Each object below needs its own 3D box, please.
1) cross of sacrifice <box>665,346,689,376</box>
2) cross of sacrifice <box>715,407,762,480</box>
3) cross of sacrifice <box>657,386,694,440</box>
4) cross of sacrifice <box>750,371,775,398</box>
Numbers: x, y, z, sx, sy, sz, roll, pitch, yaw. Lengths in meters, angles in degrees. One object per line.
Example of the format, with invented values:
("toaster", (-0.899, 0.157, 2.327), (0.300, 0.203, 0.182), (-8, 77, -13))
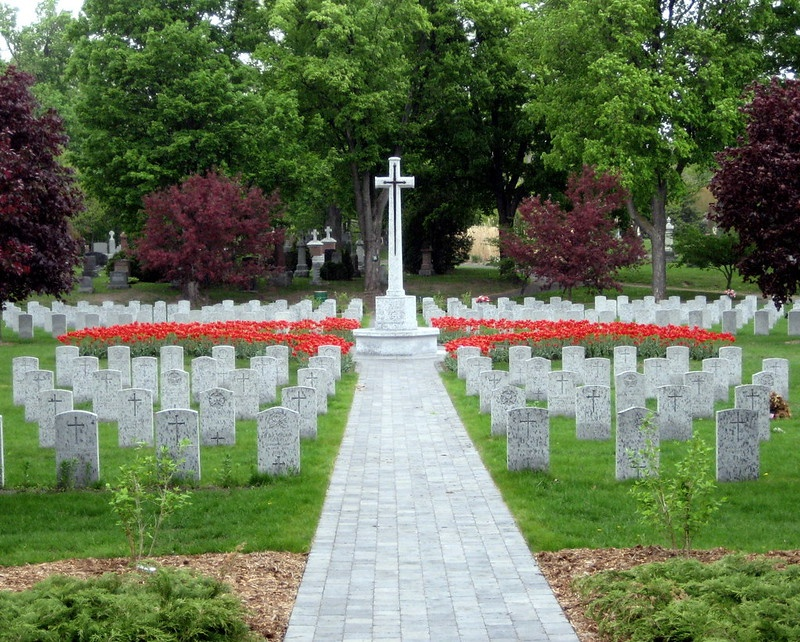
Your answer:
("cross of sacrifice", (6.628, 0.985, 37.194), (0.722, 0.959, 0.104), (1, 26, 17))
("cross of sacrifice", (6.885, 2.558, 31.692), (0.857, 1.498, 0.369), (-2, -3, 4))
("cross of sacrifice", (5.965, 2.014, 33.755), (0.720, 1.201, 0.444), (-2, -3, 7))
("cross of sacrifice", (8.041, 1.438, 34.345), (0.617, 0.660, 0.092), (-1, 13, 0))
